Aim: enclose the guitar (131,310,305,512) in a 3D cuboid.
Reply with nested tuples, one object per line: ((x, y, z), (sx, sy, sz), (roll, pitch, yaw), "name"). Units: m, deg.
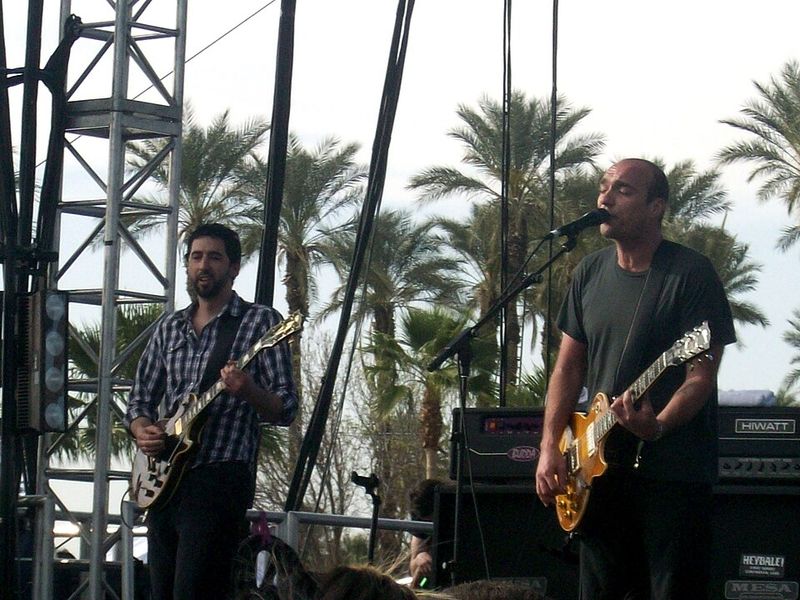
((-1.344, 0.789, 9.708), (1.272, 1.379, 0.307), (-4, -14, 26), "guitar")

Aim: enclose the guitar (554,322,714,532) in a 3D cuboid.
((1.435, 0.743, 8.890), (0.245, 0.778, 1.956), (10, -40, -17), "guitar")
